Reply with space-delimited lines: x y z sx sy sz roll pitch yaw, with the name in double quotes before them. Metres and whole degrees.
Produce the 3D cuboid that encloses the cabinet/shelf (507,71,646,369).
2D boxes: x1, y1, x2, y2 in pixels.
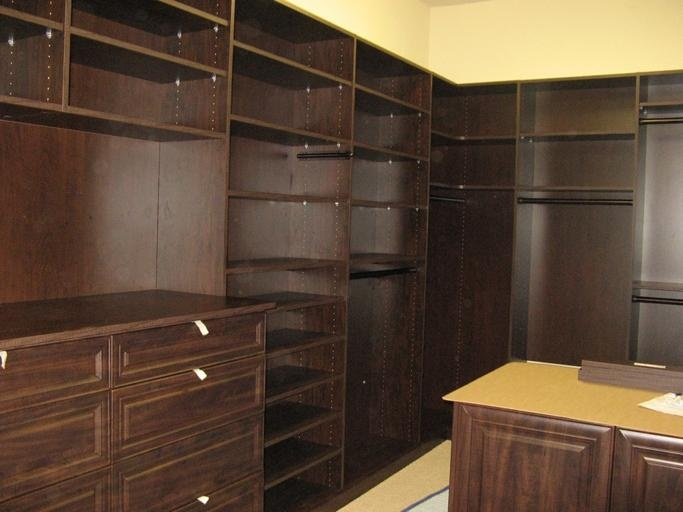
"cabinet/shelf" 2.031 -0.224 4.867 0.918 2.587 0.306 1 -1 30
